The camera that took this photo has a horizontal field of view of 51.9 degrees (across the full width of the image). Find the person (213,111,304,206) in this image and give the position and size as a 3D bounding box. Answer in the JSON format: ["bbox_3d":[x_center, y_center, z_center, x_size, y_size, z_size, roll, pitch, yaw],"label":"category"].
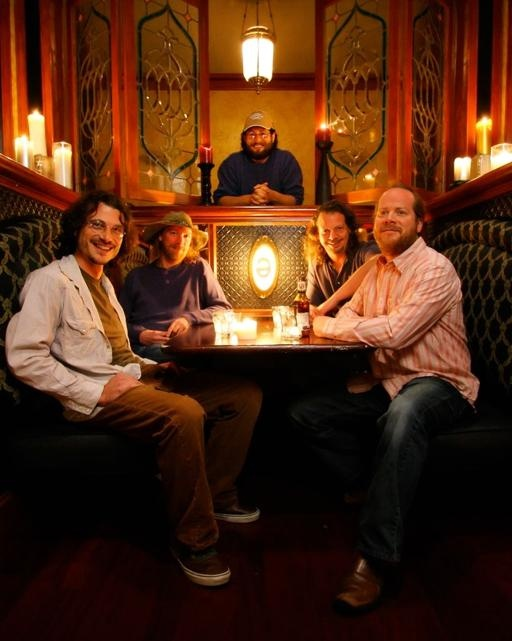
[{"bbox_3d":[0.017,-1.108,4.026,0.648,0.879,0.537,0,25,2],"label":"person"}]

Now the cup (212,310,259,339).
[{"bbox_3d":[-0.083,0.017,2.272,0.176,0.075,0.114,1,7,7],"label":"cup"}]

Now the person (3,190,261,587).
[{"bbox_3d":[-0.454,0.191,2.652,1.355,1.866,0.995,2,2,3],"label":"person"}]

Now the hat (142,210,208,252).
[{"bbox_3d":[-0.527,-0.556,3.278,0.316,0.112,0.343,16,-23,-19],"label":"hat"}]

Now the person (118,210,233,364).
[{"bbox_3d":[-0.523,-0.211,3.105,0.675,0.876,0.747,1,6,-35],"label":"person"}]

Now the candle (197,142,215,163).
[{"bbox_3d":[-0.367,-1.215,3.874,0.085,0.163,0.192,3,7,-4],"label":"candle"}]

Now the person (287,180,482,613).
[{"bbox_3d":[0.523,0.152,2.055,0.759,1.413,1.074,4,7,8],"label":"person"}]

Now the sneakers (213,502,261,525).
[{"bbox_3d":[-0.075,0.814,2.246,0.184,0.076,0.077,0,0,-1],"label":"sneakers"}]
